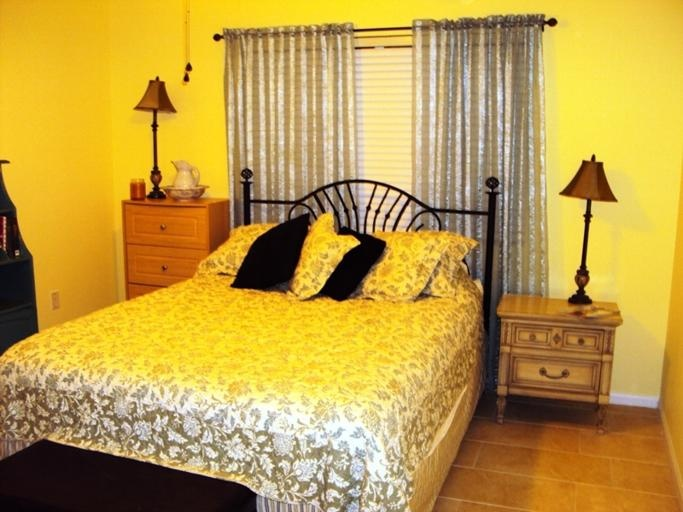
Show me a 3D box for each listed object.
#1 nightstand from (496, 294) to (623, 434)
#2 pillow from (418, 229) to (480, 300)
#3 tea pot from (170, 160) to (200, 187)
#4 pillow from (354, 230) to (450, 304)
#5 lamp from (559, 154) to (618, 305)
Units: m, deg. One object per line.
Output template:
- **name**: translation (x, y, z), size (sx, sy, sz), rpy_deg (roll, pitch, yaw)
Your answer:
- **nightstand**: translation (1.374, 0.855, 3.862), size (0.757, 0.531, 0.772), rpy_deg (-2, 47, 28)
- **pillow**: translation (0.711, 0.073, 3.792), size (0.112, 0.404, 0.385), rpy_deg (17, 6, -20)
- **tea pot**: translation (-1.186, -0.631, 4.614), size (0.226, 0.255, 0.169), rpy_deg (0, 5, -13)
- **pillow**: translation (0.385, 0.076, 3.916), size (0.651, 0.175, 0.736), rpy_deg (3, 30, 16)
- **lamp**: translation (1.604, -0.181, 3.962), size (0.331, 0.953, 0.400), rpy_deg (7, 13, 24)
